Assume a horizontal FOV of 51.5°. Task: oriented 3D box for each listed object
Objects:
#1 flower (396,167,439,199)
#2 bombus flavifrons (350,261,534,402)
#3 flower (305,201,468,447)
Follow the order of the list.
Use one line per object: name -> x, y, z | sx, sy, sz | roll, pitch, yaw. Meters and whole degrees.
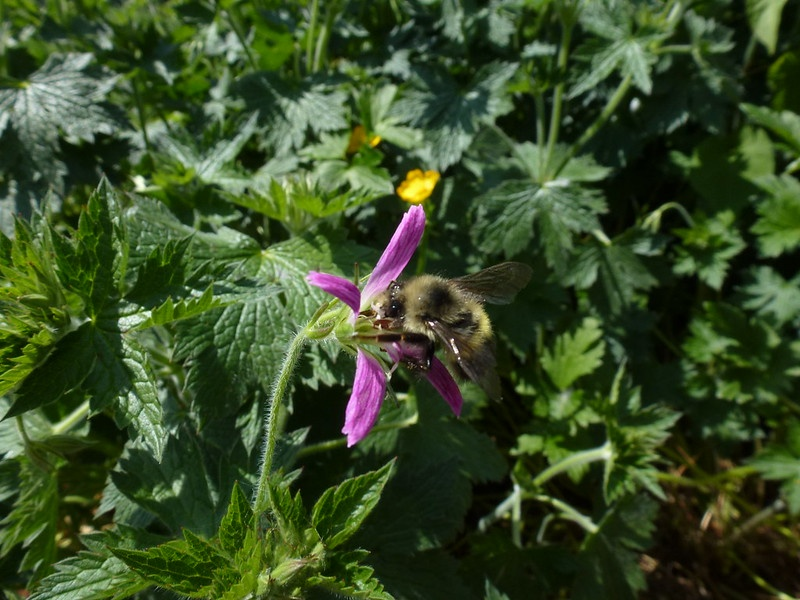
flower -> 0.063, -0.391, 2.985 | 0.122, 0.052, 0.132 | -12, 48, 28
bombus flavifrons -> 0.094, 0.128, 2.624 | 0.365, 0.462, 0.156 | -13, 83, -24
flower -> -0.091, 0.113, 2.480 | 0.168, 0.525, 0.558 | 13, 58, -40
